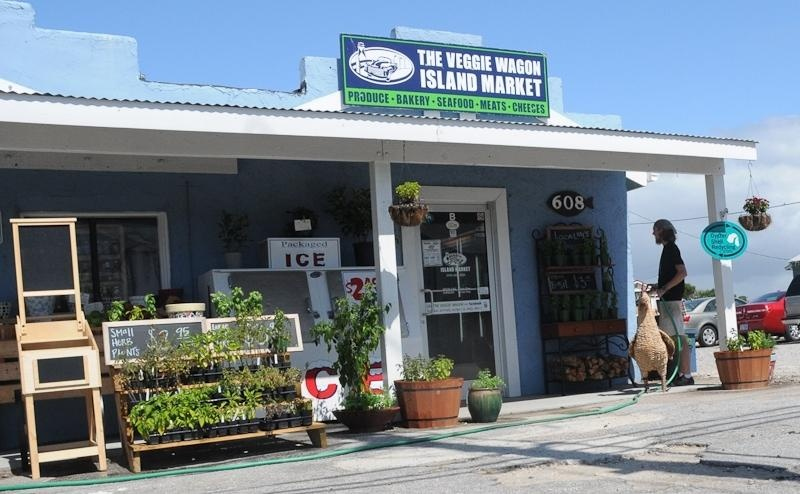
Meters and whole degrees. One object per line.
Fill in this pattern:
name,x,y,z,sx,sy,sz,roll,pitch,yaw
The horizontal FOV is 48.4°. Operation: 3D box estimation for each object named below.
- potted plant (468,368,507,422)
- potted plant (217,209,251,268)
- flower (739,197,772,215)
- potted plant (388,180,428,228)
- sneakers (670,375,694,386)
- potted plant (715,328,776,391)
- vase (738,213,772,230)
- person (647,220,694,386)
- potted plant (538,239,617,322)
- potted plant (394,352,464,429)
potted plant,1.202,2.101,12.506,0.482,0.712,0.330,-4,-3,-4
potted plant,-2.532,-0.126,13.745,0.479,0.896,0.280,-3,-3,-11
flower,5.585,-0.634,13.952,0.315,0.210,0.150,-4,-3,5
potted plant,0.138,-0.569,12.457,0.652,0.811,0.643,1,-13,0
sneakers,4.638,2.200,14.651,0.431,0.174,0.152,-2,-1,-21
potted plant,5.340,1.775,13.788,0.846,0.763,0.879,-3,-6,29
vase,5.501,-0.387,13.818,0.423,0.209,0.506,-5,-4,20
person,4.374,0.903,14.350,0.477,1.808,1.220,-5,-3,16
potted plant,3.005,0.614,15.370,1.419,1.558,0.477,1,-12,-18
potted plant,0.431,2.044,12.624,1.011,0.951,0.966,0,-9,-23
